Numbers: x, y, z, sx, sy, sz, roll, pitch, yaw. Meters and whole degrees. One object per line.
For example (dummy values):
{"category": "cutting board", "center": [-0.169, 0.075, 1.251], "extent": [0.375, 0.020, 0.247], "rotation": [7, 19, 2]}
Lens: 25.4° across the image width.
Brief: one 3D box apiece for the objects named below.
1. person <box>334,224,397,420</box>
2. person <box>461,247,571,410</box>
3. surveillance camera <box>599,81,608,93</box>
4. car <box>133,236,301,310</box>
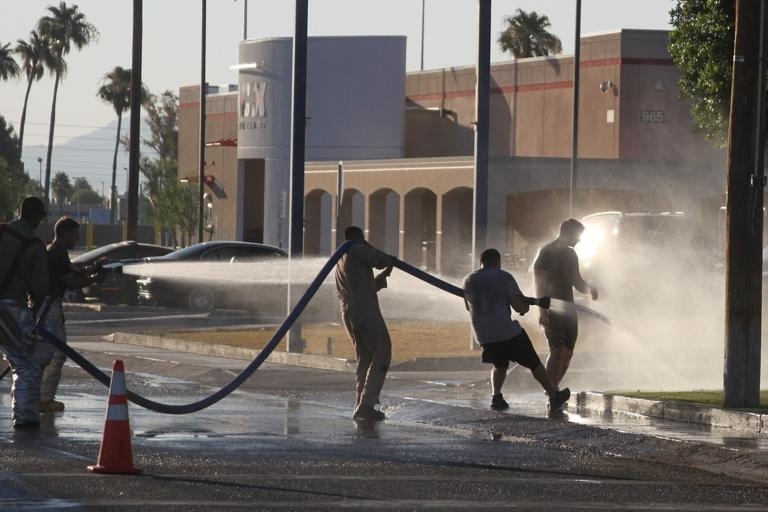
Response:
{"category": "person", "center": [-0.315, 1.179, 26.873], "extent": [0.844, 2.813, 0.508], "rotation": [-1, 2, 3]}
{"category": "person", "center": [1.992, 1.201, 27.278], "extent": [1.435, 2.603, 0.670], "rotation": [-1, 2, 2]}
{"category": "surveillance camera", "center": [7.674, -5.859, 59.436], "extent": [0.303, 0.571, 0.309], "rotation": [3, -5, 2]}
{"category": "car", "center": [-4.274, 0.511, 39.516], "extent": [3.187, 1.605, 0.876], "rotation": [-1, 2, -10]}
